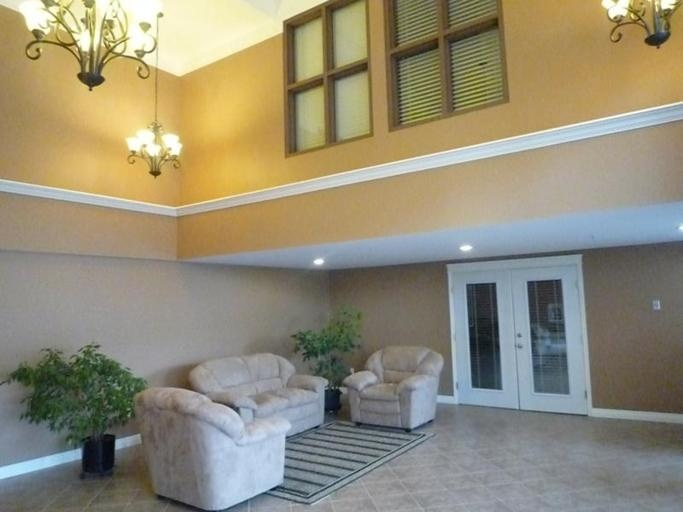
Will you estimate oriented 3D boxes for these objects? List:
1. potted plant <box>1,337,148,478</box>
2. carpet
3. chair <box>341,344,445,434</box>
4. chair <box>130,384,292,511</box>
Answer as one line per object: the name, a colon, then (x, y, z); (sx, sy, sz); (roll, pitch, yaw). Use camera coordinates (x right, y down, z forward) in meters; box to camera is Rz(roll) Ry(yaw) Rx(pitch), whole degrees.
potted plant: (-3.195, 1.860, 6.025); (1.400, 1.538, 0.826); (-2, -5, 4)
carpet: (-0.072, 2.576, 6.434); (1.687, 0.267, 2.525); (-6, -8, 32)
chair: (0.851, 2.022, 7.763); (1.292, 1.125, 1.059); (-4, -6, 25)
chair: (-1.367, 1.730, 5.544); (1.418, 1.240, 1.168); (0, 0, 34)
